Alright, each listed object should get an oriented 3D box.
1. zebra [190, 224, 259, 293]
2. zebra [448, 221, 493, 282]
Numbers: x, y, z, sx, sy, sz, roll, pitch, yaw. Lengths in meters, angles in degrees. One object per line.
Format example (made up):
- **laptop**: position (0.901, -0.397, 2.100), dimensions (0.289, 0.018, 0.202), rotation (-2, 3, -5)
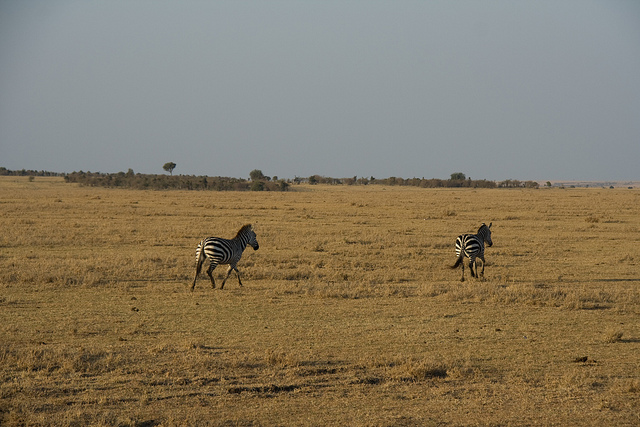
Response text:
- **zebra**: position (-4.543, 2.104, 42.722), dimensions (1.798, 3.307, 3.634), rotation (0, -4, 34)
- **zebra**: position (7.508, 1.941, 45.078), dimensions (0.945, 2.914, 3.976), rotation (3, 6, 39)
